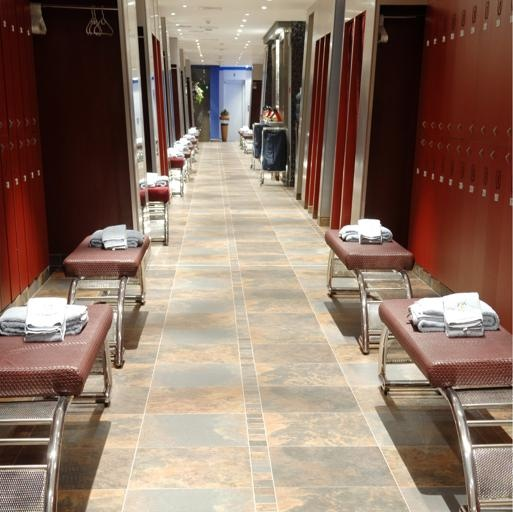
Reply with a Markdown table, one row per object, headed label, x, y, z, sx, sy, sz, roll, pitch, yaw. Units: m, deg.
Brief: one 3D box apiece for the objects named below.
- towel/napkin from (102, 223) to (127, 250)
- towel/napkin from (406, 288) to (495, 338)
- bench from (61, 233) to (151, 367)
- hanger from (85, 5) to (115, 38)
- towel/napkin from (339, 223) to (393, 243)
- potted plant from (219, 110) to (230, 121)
| label | x | y | z | sx | sy | sz | roll | pitch | yaw |
| --- | --- | --- | --- | --- | --- | --- | --- | --- | --- |
| towel/napkin | -1.010 | -0.144 | 3.173 | 0.162 | 0.061 | 0.190 | -1 | 50 | -10 |
| towel/napkin | 0.874 | 0.263 | 1.968 | 0.213 | 0.083 | 0.246 | 1 | 7 | 0 |
| bench | -0.930 | 0.271 | 2.819 | 0.220 | 0.309 | 0.745 | 3 | 14 | -3 |
| hanger | -1.438 | -2.189 | 4.117 | 0.218 | 0.335 | 0.037 | 2 | 16 | 11 |
| towel/napkin | 0.838 | -0.183 | 3.531 | 0.219 | 0.076 | 0.216 | -2 | 17 | 2 |
| potted plant | -1.747 | -7.663 | 24.123 | 0.459 | 0.695 | 0.499 | 0 | 9 | -4 |
